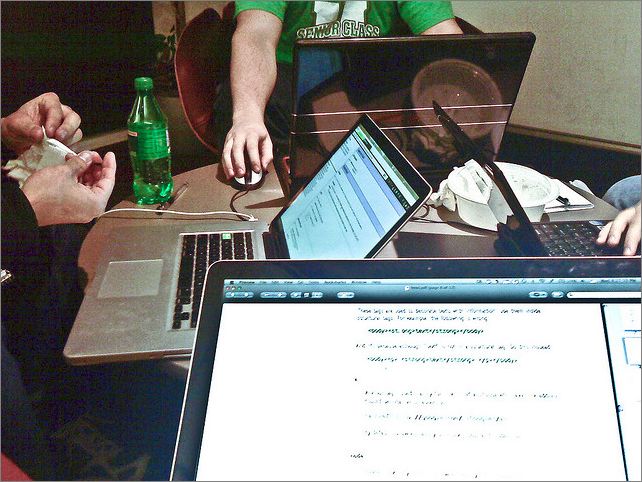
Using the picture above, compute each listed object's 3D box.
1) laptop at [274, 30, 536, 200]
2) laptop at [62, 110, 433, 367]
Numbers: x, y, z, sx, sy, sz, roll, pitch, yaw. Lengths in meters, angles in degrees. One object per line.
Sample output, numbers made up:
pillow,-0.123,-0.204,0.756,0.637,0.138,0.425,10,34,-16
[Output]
laptop,0.174,-0.364,1.444,0.606,0.346,0.376,-3,24,-8
laptop,-0.102,-0.003,1.091,0.704,0.238,0.466,-1,35,-11
